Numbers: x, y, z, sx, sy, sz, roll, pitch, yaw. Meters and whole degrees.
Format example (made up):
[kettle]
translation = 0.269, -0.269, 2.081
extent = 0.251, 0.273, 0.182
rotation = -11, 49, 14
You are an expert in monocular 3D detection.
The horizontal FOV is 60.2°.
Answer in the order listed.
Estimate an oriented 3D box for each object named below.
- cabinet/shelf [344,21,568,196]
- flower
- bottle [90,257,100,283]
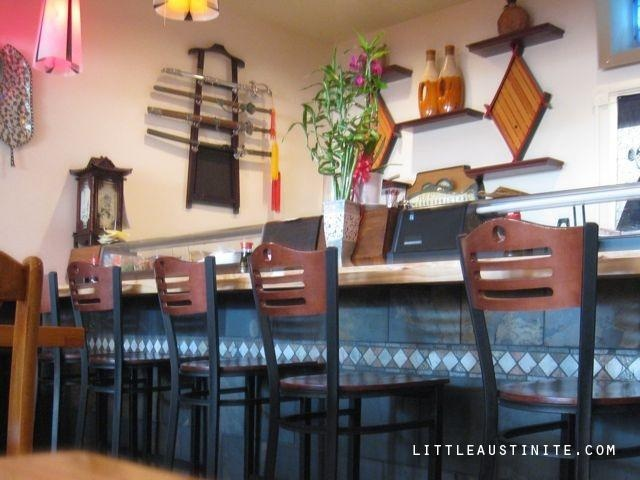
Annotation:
[cabinet/shelf]
translation = 1.129, -1.196, 5.076
extent = 1.882, 1.137, 0.293
rotation = 1, 25, 23
[flower]
translation = 0.086, -0.476, 2.725
extent = 0.439, 0.950, 0.426
rotation = 11, 2, 34
[bottle]
translation = -1.187, 0.163, 2.910
extent = 0.033, 0.121, 0.030
rotation = 10, -15, -40
